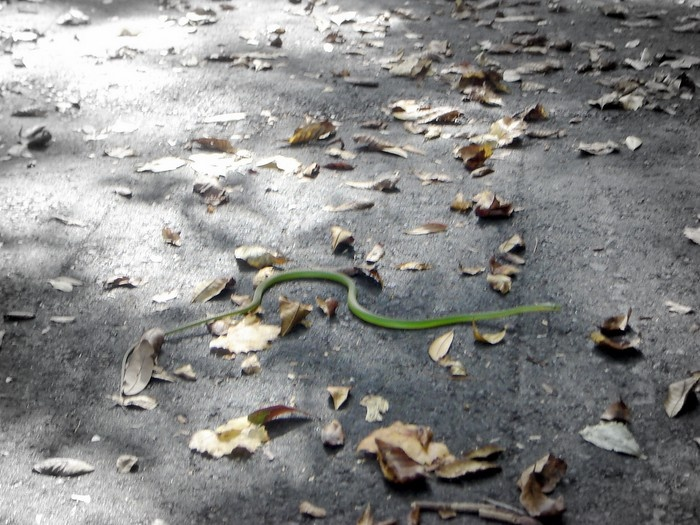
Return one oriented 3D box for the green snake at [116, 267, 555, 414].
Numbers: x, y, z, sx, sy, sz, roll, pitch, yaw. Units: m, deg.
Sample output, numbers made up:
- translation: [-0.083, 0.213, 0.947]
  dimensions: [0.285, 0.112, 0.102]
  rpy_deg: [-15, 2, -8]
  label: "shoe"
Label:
- translation: [-0.296, 0.339, 4.604]
  dimensions: [1.628, 0.083, 1.050]
  rpy_deg: [-6, 17, 1]
  label: "green snake"
